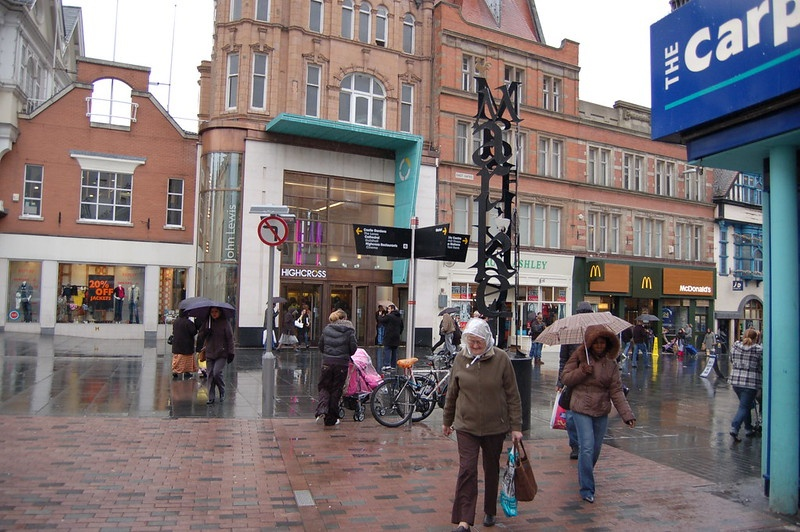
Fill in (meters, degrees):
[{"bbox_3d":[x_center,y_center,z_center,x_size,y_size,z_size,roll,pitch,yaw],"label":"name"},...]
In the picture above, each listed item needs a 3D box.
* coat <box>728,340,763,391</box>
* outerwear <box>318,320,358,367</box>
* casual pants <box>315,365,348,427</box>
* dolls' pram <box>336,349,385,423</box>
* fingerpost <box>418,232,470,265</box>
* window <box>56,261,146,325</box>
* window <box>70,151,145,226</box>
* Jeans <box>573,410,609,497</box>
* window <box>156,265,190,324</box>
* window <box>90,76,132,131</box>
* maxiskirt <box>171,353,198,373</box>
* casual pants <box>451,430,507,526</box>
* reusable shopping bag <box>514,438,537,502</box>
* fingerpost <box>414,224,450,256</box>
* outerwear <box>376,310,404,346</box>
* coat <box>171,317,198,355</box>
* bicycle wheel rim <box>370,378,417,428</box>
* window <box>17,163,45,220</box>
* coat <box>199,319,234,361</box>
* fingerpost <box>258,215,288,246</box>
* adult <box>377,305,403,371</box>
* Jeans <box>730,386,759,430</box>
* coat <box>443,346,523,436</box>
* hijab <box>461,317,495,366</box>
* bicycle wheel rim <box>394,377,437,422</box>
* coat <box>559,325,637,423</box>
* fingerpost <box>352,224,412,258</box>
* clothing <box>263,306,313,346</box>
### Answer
[{"bbox_3d":[7.603,2.194,16.093,0.662,1.033,0.488,-3,-7,23],"label":"coat"},{"bbox_3d":[-1.359,1.716,16.264,1.014,1.212,0.847,1,-1,-5],"label":"outerwear"},{"bbox_3d":[-1.497,2.801,15.952,0.669,1.316,0.468,1,-7,-7],"label":"casual pants"},{"bbox_3d":[-0.949,2.654,16.836,1.040,1.458,1.441,-1,2,40],"label":"dolls' pram"},{"bbox_3d":[1.394,-0.454,18.669,0.912,0.560,0.915,3,-6,-26],"label":"fingerpost"},{"bbox_3d":[-13.111,1.182,31.462,2.726,2.060,0.112,2,-7,-25],"label":"window"},{"bbox_3d":[-12.856,-3.376,31.605,3.173,3.170,0.721,4,-1,-30],"label":"window"},{"bbox_3d":[3.302,3.303,12.793,0.539,1.495,0.390,3,-7,-26],"label":"Jeans"},{"bbox_3d":[-10.185,1.308,32.580,1.159,2.504,0.566,4,-7,-29],"label":"window"},{"bbox_3d":[-12.126,-6.941,30.635,2.000,0.218,2.590,2,-43,-23],"label":"window"},{"bbox_3d":[-5.952,2.675,20.300,0.560,0.653,0.520,0,-1,9],"label":"maxiskirt"},{"bbox_3d":[1.262,3.387,11.719,0.676,1.502,0.765,-6,-9,43],"label":"casual pants"},{"bbox_3d":[2.018,3.340,11.882,0.332,1.075,0.728,-1,-7,10],"label":"reusable shopping bag"},{"bbox_3d":[0.716,-0.579,17.626,0.911,0.764,0.093,-5,10,-18],"label":"fingerpost"},{"bbox_3d":[-0.257,1.950,22.905,0.545,1.161,0.630,1,-7,-11],"label":"outerwear"},{"bbox_3d":[-5.837,1.863,19.759,0.610,1.024,0.818,3,-7,-20],"label":"coat"},{"bbox_3d":[-0.160,2.991,16.135,1.003,1.088,0.433,6,-8,-40],"label":"bicycle wheel rim"},{"bbox_3d":[-15.388,-3.220,30.586,0.754,2.108,0.243,3,-7,-21],"label":"window"},{"bbox_3d":[-4.357,1.743,17.298,1.013,1.143,0.664,-2,-15,4],"label":"coat"},{"bbox_3d":[-3.027,-0.859,17.271,0.628,0.808,0.432,2,-7,-14],"label":"fingerpost"},{"bbox_3d":[-0.336,2.216,23.039,0.817,2.015,0.711,10,-10,-33],"label":"adult"},{"bbox_3d":[7.710,3.200,16.357,0.536,1.017,0.928,-3,-7,25],"label":"Jeans"},{"bbox_3d":[1.328,2.013,11.957,1.403,1.396,0.763,-3,-3,21],"label":"coat"},{"bbox_3d":[1.187,1.176,11.757,0.580,0.773,0.696,-1,2,32],"label":"hijab"},{"bbox_3d":[0.427,2.940,16.353,0.827,1.080,0.323,5,-3,-15],"label":"bicycle wheel rim"},{"bbox_3d":[3.526,2.396,12.864,1.290,2.663,0.676,1,-1,21],"label":"coat"},{"bbox_3d":[-0.441,-0.629,17.776,1.475,0.753,0.377,3,-7,-22],"label":"fingerpost"},{"bbox_3d":[-4.456,2.484,29.332,1.212,1.644,0.755,-6,-8,22],"label":"clothing"}]
